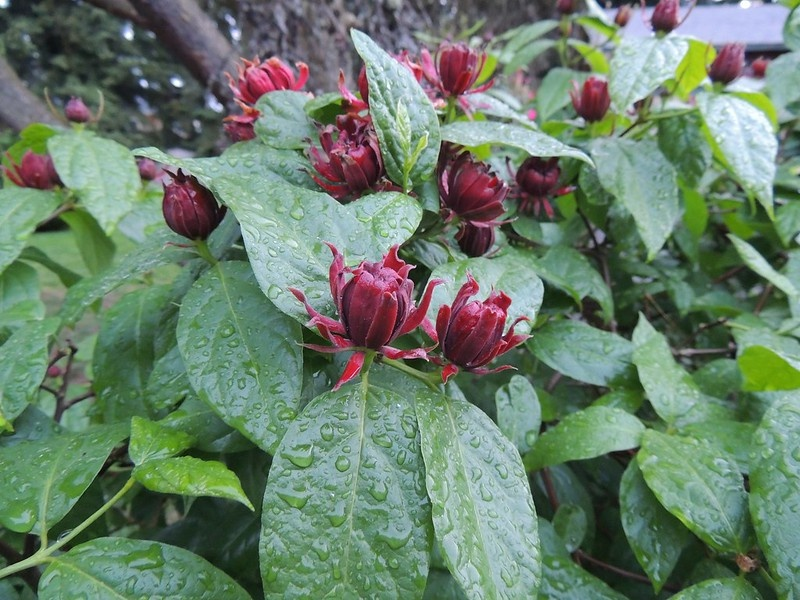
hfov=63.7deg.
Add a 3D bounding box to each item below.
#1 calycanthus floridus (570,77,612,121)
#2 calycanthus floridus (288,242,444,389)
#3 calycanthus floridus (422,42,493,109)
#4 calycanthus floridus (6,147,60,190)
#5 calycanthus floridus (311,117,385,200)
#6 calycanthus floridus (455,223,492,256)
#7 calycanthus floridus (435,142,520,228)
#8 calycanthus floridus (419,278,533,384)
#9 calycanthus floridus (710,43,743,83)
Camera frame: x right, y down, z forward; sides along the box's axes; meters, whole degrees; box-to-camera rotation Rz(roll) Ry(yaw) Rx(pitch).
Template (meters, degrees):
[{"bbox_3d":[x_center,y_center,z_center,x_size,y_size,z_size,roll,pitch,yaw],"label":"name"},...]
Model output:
[{"bbox_3d":[0.548,-0.604,1.903,0.122,0.140,0.126,1,2,34],"label":"calycanthus floridus"},{"bbox_3d":[-0.072,0.020,1.308,0.281,0.193,0.296,-2,33,-14],"label":"calycanthus floridus"},{"bbox_3d":[0.145,-0.597,1.677,0.158,0.136,0.172,3,46,-6],"label":"calycanthus floridus"},{"bbox_3d":[-0.957,-0.324,1.695,0.132,0.124,0.090,-4,85,30],"label":"calycanthus floridus"},{"bbox_3d":[-0.110,-0.332,1.627,0.184,0.133,0.196,17,59,16],"label":"calycanthus floridus"},{"bbox_3d":[0.200,-0.162,1.694,0.073,0.088,0.081,-5,15,-41],"label":"calycanthus floridus"},{"bbox_3d":[0.152,-0.274,1.611,0.229,0.151,0.197,24,21,4],"label":"calycanthus floridus"},{"bbox_3d":[0.145,0.071,1.454,0.211,0.218,0.211,1,29,-48],"label":"calycanthus floridus"},{"bbox_3d":[0.880,-0.632,1.727,0.036,0.108,0.082,-10,29,-38],"label":"calycanthus floridus"}]
